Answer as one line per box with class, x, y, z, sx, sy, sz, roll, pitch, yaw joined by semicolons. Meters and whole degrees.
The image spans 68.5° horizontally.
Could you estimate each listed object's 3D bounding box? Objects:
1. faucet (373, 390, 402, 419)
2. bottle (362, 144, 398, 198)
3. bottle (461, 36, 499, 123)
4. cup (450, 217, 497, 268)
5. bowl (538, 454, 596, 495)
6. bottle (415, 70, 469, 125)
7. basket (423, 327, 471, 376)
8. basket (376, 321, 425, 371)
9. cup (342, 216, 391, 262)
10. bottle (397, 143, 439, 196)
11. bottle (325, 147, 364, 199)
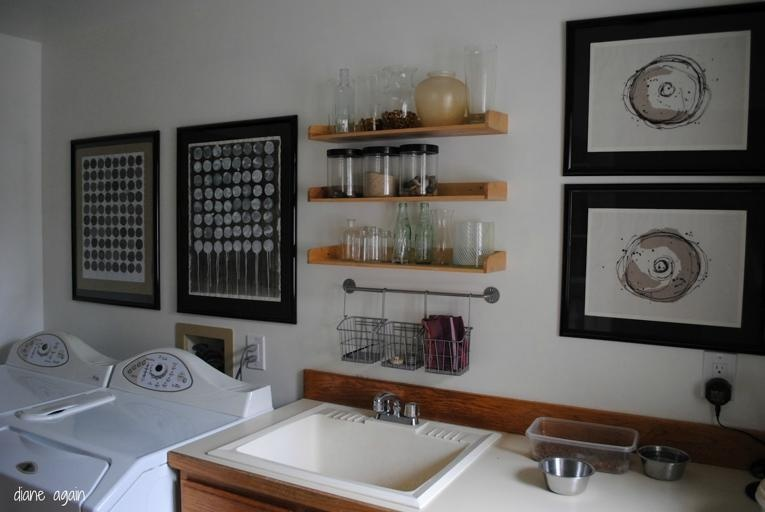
faucet;0.022;0.691;2.629;0.111;0.093;0.115;-3;-8;31
bottle;-0.010;-0.382;2.590;0.200;0.249;0.210;-1;-2;17
bottle;0.415;-0.745;2.427;0.132;0.305;0.122;0;13;0
cup;0.398;-0.059;2.489;0.182;0.220;0.191;0;-3;0
bowl;0.692;0.830;2.171;0.136;0.054;0.135;-2;-7;0
bottle;0.241;-0.660;2.491;0.216;0.255;0.220;0;-6;-1
basket;0.290;0.422;2.598;0.209;0.224;0.181;-1;-4;26
basket;0.097;0.418;2.738;0.200;0.254;0.245;0;1;-43
cup;-0.097;-0.066;2.684;0.232;0.245;0.133;6;4;33
bottle;0.166;-0.374;2.583;0.209;0.245;0.217;0;-1;18
bottle;-0.183;-0.389;2.676;0.200;0.243;0.213;-1;-2;5
